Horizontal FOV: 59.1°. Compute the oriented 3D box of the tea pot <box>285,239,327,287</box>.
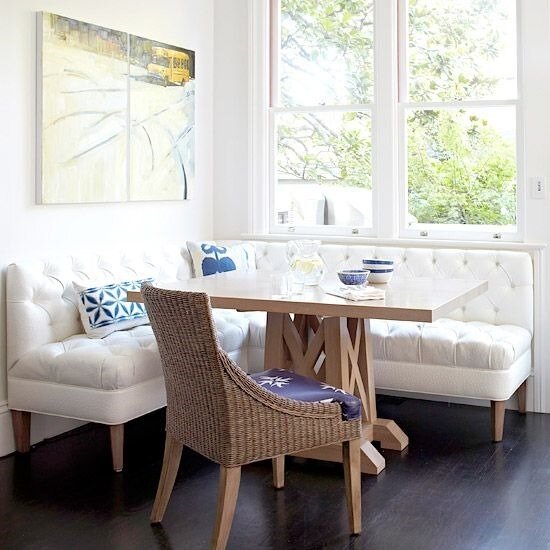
[{"bbox_3d":[0.143,-0.059,2.137,0.192,0.200,0.152,-5,1,24],"label":"tea pot"}]

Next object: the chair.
[{"bbox_3d":[-0.103,0.359,1.885,0.766,1.055,0.747,-5,6,-30],"label":"chair"}]

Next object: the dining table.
[{"bbox_3d":[0.249,0.273,1.995,1.043,0.620,1.052,0,-1,30],"label":"dining table"}]

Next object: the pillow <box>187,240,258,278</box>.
[{"bbox_3d":[-0.374,-0.095,3.332,0.333,0.309,0.100,-4,-10,-35],"label":"pillow"}]

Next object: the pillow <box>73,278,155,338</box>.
[{"bbox_3d":[-0.773,0.172,2.397,0.089,0.176,0.294,-9,-2,36],"label":"pillow"}]

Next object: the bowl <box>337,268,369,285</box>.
[{"bbox_3d":[0.330,0.013,2.108,0.127,0.063,0.295,0,0,10],"label":"bowl"}]
